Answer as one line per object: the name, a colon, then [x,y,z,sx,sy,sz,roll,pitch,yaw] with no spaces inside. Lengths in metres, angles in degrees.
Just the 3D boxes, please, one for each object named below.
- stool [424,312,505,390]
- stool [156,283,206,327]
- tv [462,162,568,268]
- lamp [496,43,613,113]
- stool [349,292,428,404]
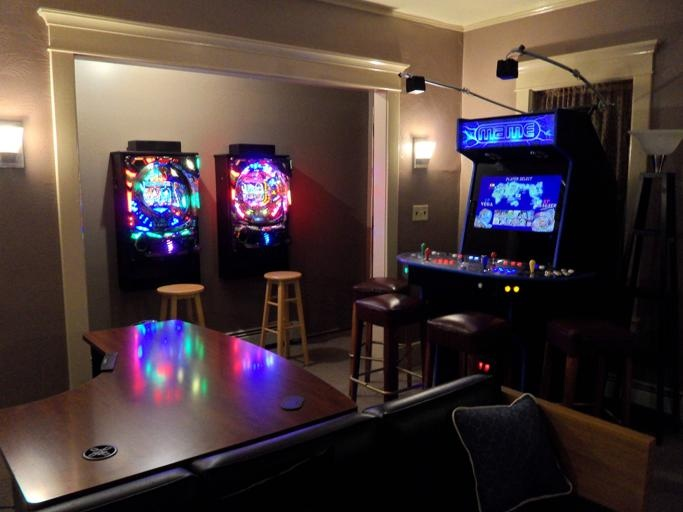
stool: [0.859,0.652,3.970,0.503,0.692,0.491,-8,12,-34]
stool: [-1.516,0.455,5.175,0.436,0.542,0.469,-5,7,-37]
tv: [1.434,-0.318,4.278,0.083,0.785,0.802,8,0,-42]
lamp: [1.828,-1.548,4.540,0.866,0.685,0.979,3,10,24]
stool: [0.266,0.728,4.248,0.556,0.768,0.562,-3,7,-28]
